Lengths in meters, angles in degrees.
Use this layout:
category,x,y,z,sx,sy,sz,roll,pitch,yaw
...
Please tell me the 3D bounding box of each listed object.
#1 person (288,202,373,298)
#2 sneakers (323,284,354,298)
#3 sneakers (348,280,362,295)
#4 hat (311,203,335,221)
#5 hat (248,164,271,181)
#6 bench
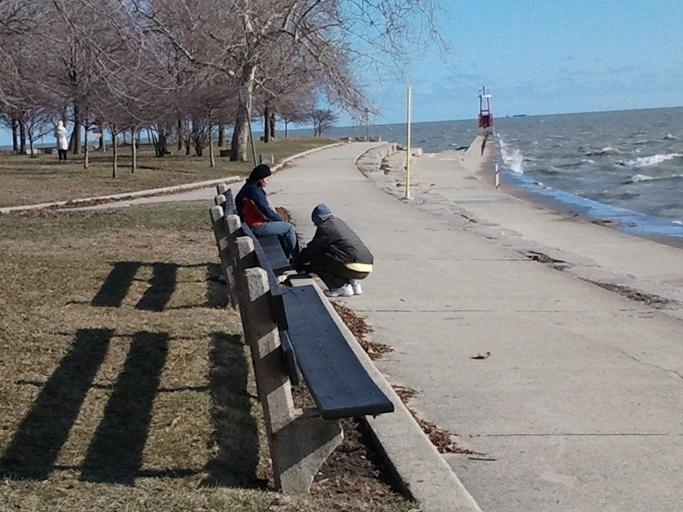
category,x,y,z,sx,sy,sz,roll,pitch,yaw
person,-0.045,-0.087,7.753,1.285,1.174,0.883,5,8,16
sneakers,-0.009,0.482,7.554,0.485,0.177,0.153,4,0,-4
sneakers,0.197,0.443,7.664,0.199,0.185,0.185,-3,0,-6
hat,-0.258,-0.584,7.660,0.230,0.252,0.305,9,34,36
hat,-1.278,-1.259,8.379,0.230,0.184,0.332,-11,3,-40
bench,-0.389,0.709,5.159,0.778,1.104,3.142,-15,24,-10
